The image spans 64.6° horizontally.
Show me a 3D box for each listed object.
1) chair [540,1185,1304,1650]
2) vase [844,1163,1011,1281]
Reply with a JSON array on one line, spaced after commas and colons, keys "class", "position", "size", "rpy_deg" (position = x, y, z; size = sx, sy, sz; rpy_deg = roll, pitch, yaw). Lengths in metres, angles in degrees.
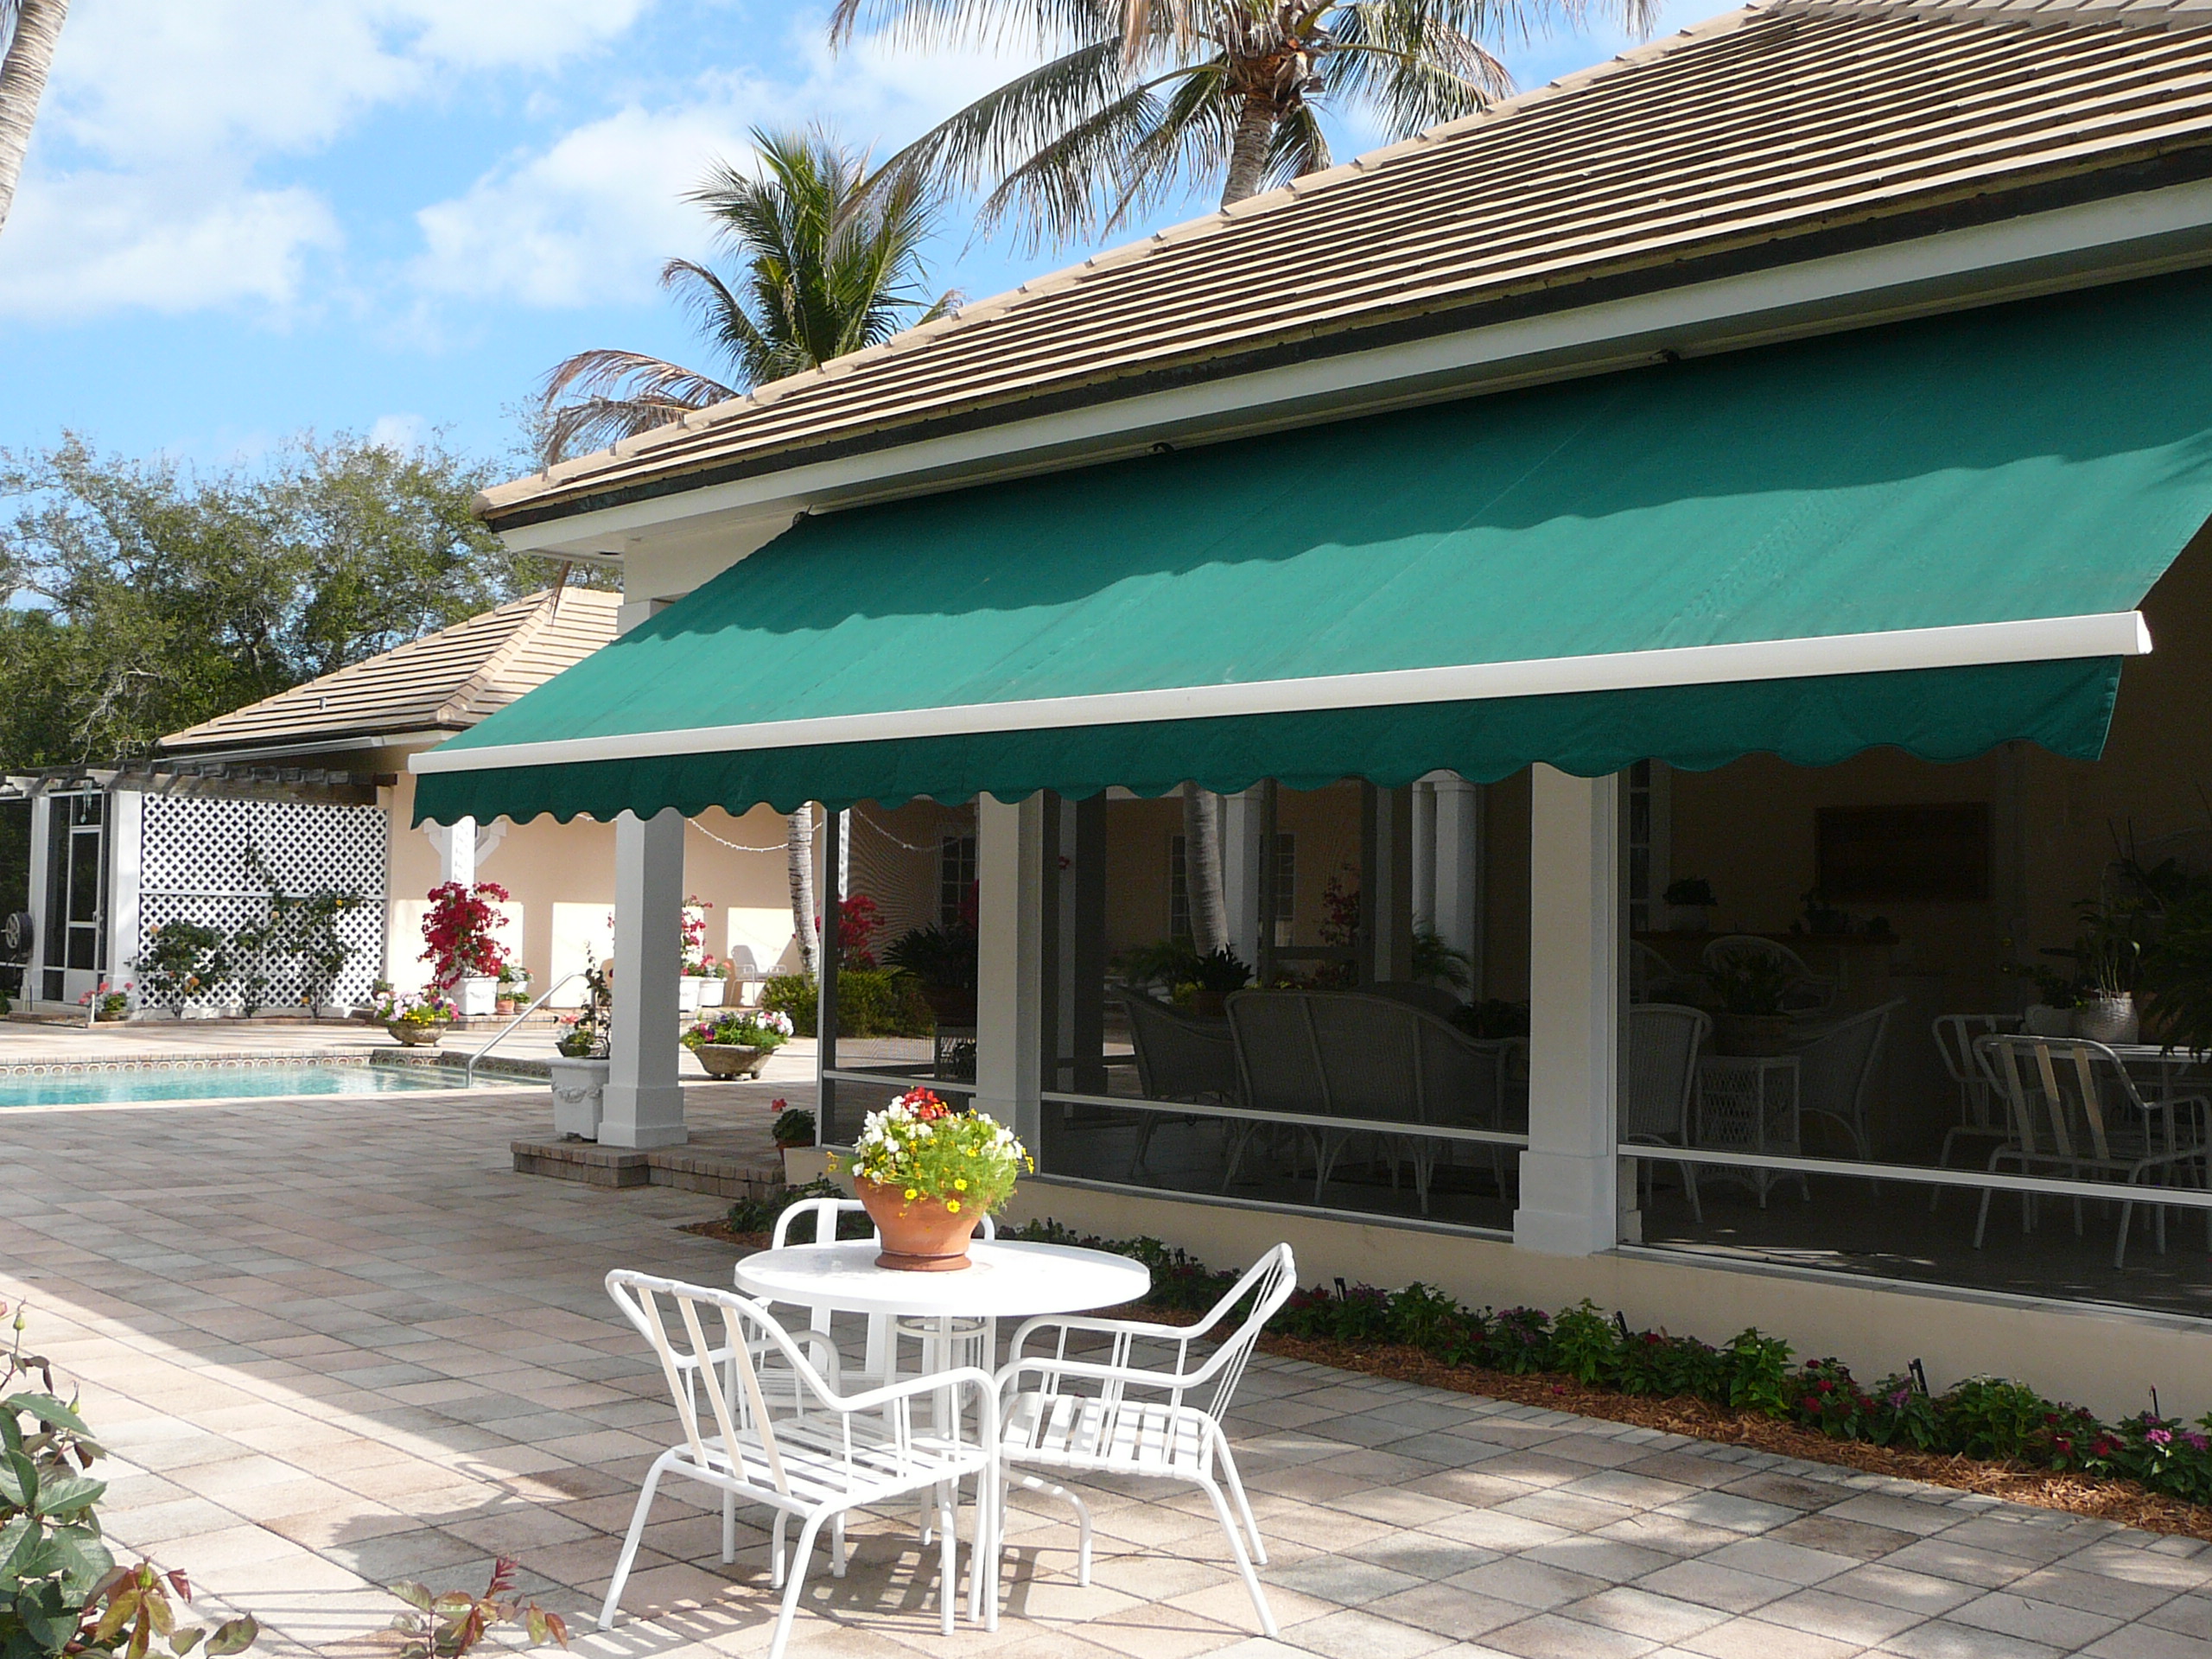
[{"class": "chair", "position": [-0.972, 2.773, 8.513], "size": [2.763, 2.071, 3.005], "rpy_deg": [5, 1, 36]}, {"class": "vase", "position": [-0.892, 1.830, 8.216], "size": [0.618, 0.430, 0.515], "rpy_deg": [1, 1, 1]}]
